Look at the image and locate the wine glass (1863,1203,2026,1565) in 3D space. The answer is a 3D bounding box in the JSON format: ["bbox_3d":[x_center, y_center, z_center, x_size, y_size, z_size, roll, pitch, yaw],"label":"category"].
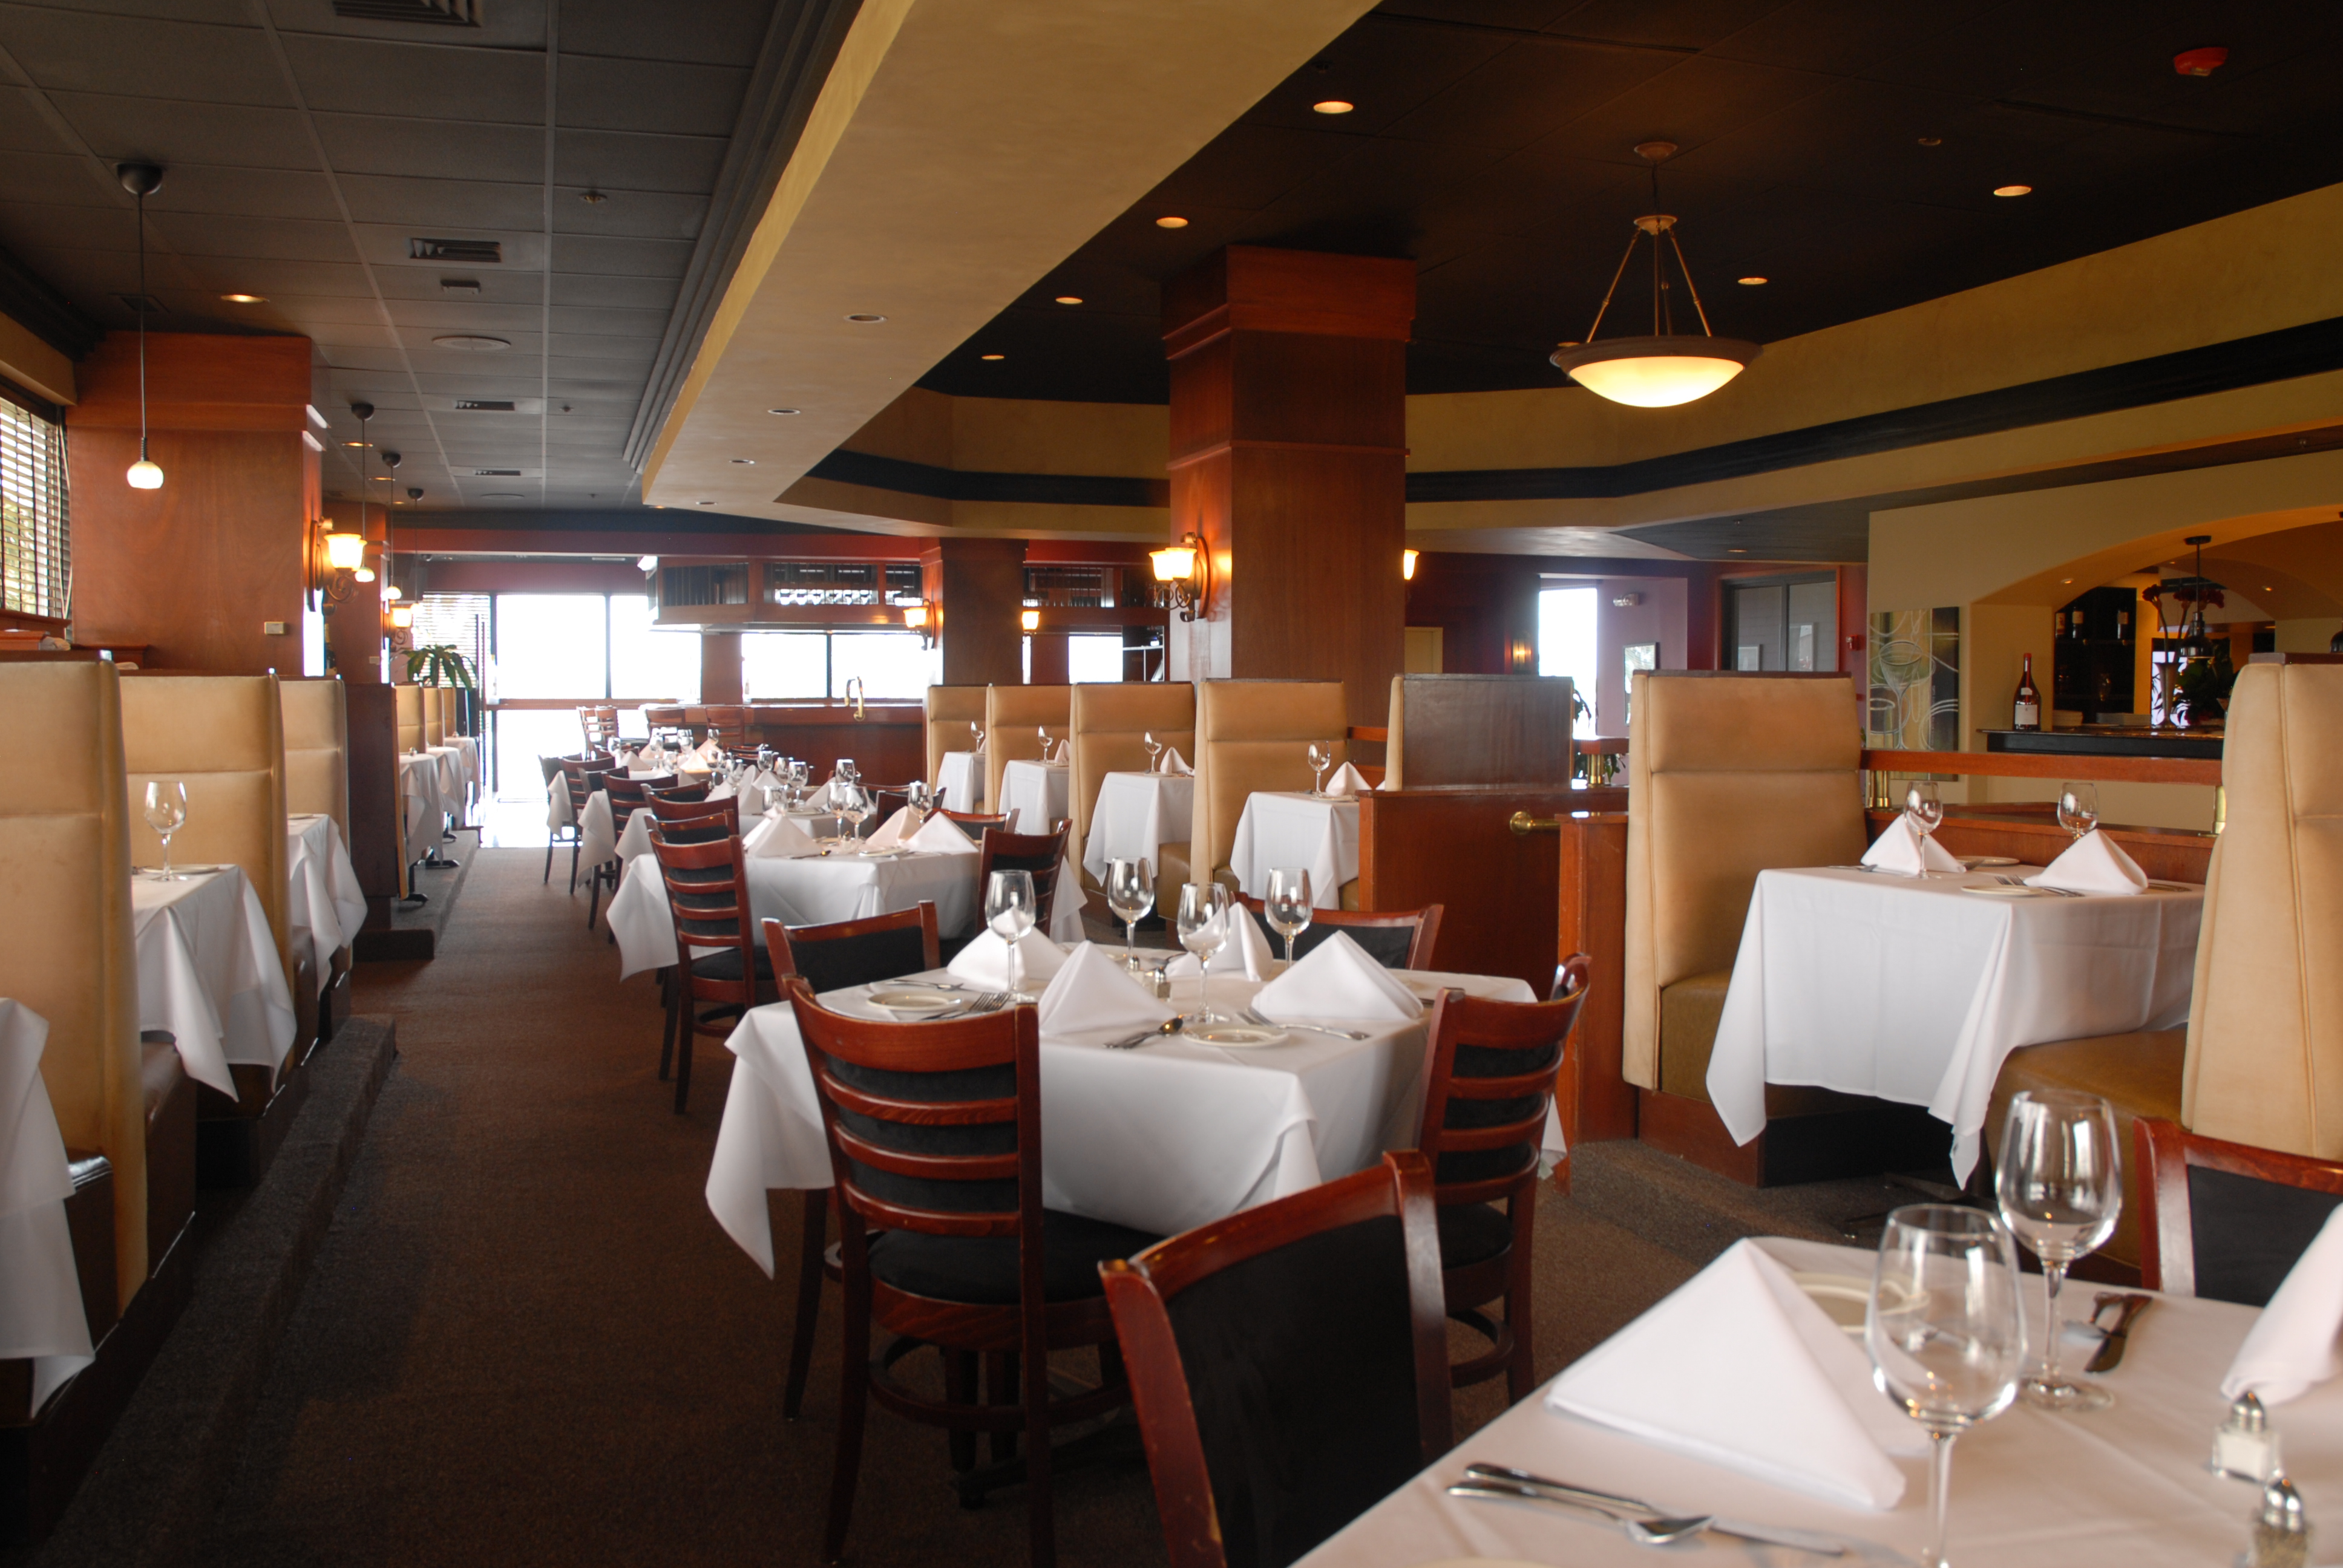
[{"bbox_3d":[1.061,0.806,2.263,0.174,0.483,0.285,4,5,45],"label":"wine glass"}]

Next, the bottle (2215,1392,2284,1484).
[{"bbox_3d":[1.522,0.921,2.374,0.085,0.129,0.118,3,4,33],"label":"bottle"}]

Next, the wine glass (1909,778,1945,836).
[{"bbox_3d":[2.535,0.081,5.611,0.132,0.177,0.176,2,-2,8],"label":"wine glass"}]

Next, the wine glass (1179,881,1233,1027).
[{"bbox_3d":[0.085,0.385,4.424,0.179,0.463,0.200,3,2,2],"label":"wine glass"}]

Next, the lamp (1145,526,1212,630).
[{"bbox_3d":[0.066,-1.422,11.560,0.301,0.612,0.652,-1,4,-22],"label":"lamp"}]

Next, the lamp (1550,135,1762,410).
[{"bbox_3d":[2.981,-3.212,10.308,1.233,1.449,1.250,2,-4,-17],"label":"lamp"}]

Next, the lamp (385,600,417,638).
[{"bbox_3d":[-9.073,-1.952,19.800,0.224,0.418,1.224,-1,4,-21],"label":"lamp"}]
